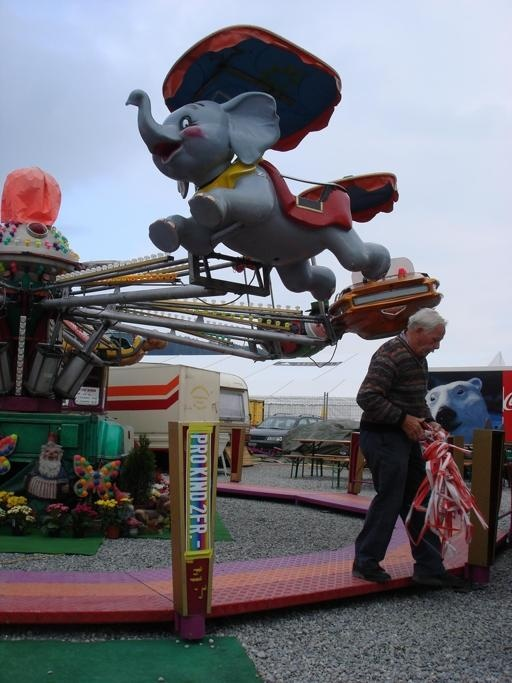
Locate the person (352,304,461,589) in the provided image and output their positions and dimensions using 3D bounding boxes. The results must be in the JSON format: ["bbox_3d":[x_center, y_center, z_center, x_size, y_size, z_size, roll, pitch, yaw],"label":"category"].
[{"bbox_3d":[0.971,0.678,3.533,0.589,1.795,0.674,2,-11,18],"label":"person"}]

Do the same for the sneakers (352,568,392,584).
[{"bbox_3d":[0.721,1.447,3.383,0.231,0.087,0.090,-7,-15,35],"label":"sneakers"}]

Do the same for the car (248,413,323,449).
[{"bbox_3d":[0.866,3.703,22.604,1.590,1.054,3.228,-4,-9,33],"label":"car"}]
